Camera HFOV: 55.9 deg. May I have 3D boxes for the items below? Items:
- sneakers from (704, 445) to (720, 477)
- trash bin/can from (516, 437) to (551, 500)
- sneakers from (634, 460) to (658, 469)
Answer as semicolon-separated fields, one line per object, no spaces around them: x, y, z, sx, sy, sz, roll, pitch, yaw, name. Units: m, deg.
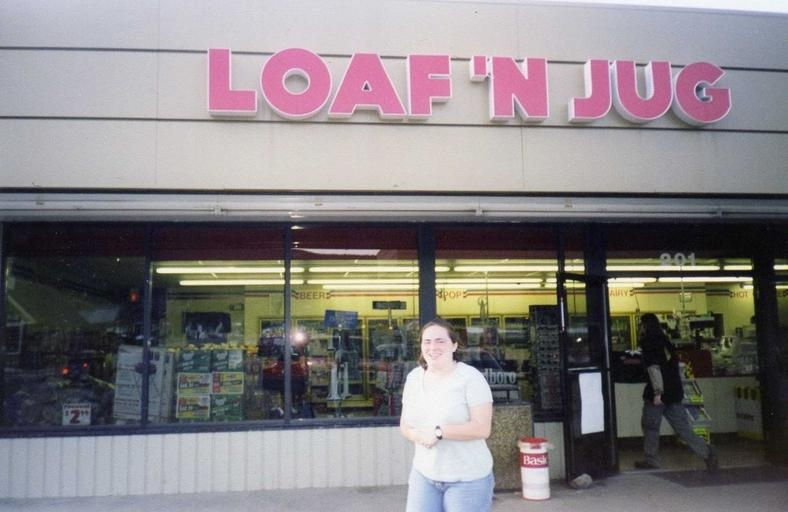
5.111;3.279;11.916;0.168;0.486;0.204;-4;-11;16;sneakers
2.139;3.201;11.243;0.474;0.910;0.346;-3;-10;8;trash bin/can
4.199;3.450;12.321;0.320;0.143;0.140;4;-5;13;sneakers
